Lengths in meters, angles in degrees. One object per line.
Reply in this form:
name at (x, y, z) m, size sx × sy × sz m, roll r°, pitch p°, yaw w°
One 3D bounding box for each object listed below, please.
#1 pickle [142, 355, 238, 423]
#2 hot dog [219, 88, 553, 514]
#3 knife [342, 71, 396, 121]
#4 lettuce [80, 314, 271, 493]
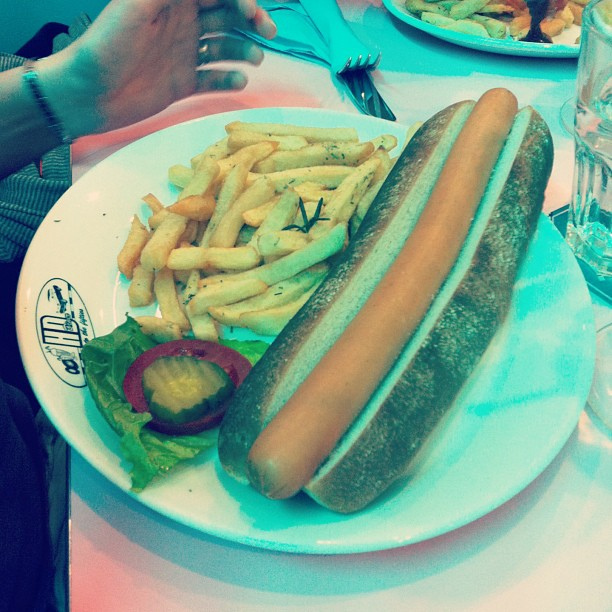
pickle at (-0.203, 0.139, 1.148) m, size 0.156 × 0.094 × 0.036 m, roll 2°, pitch -22°, yaw -15°
hot dog at (0.225, -0.013, 1.313) m, size 0.395 × 0.954 × 0.249 m, roll 27°, pitch -28°, yaw 21°
knife at (0.182, -0.593, 1.868) m, size 0.086 × 0.248 × 0.035 m, roll -17°, pitch -53°, yaw -6°
lettuce at (-0.265, 0.146, 1.171) m, size 0.322 × 0.281 × 0.110 m, roll -46°, pitch -19°, yaw -43°
